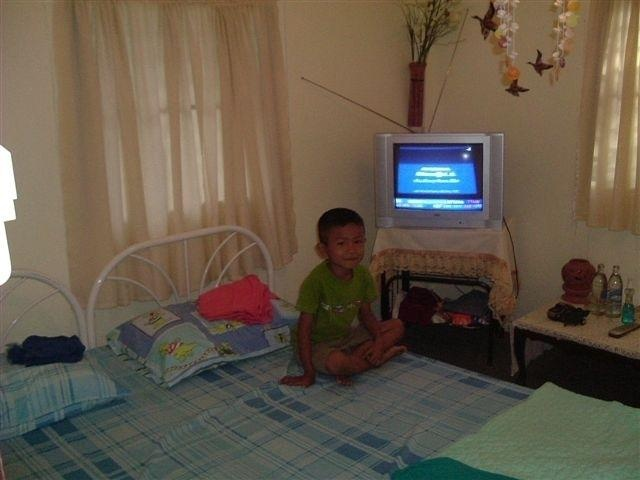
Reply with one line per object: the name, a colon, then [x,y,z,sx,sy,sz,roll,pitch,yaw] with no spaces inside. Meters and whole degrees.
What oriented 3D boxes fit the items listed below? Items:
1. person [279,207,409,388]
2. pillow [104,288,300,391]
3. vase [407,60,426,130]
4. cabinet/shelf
person: [0.095,0.276,2.593,0.536,0.837,0.826,12,18,42]
pillow: [-0.586,0.519,2.719,0.632,0.157,0.496,-11,21,-43]
vase: [0.837,-1.248,4.298,0.148,0.561,0.211,-1,10,9]
cabinet/shelf: [1.076,0.405,4.146,1.373,1.059,1.076,6,12,28]
